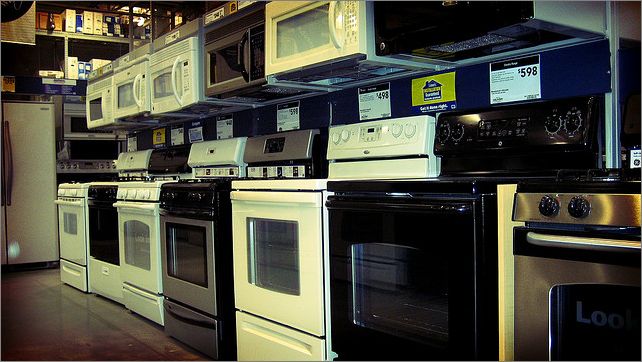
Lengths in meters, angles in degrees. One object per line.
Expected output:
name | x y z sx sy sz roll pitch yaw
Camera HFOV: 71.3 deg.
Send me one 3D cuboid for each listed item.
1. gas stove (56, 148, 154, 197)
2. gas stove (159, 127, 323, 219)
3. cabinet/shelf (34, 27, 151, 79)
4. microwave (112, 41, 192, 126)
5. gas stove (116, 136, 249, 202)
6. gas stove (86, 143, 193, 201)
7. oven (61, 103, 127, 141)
gas stove | -2.746 -0.187 6.055 1.527 0.399 0.414 0 -3 18
gas stove | -0.710 0.049 3.891 1.369 0.730 0.676 0 16 16
cabinet/shelf | -4.172 -2.271 7.912 2.937 0.840 0.869 3 7 44
microwave | -1.764 -1.001 4.697 0.429 0.503 1.141 2 -4 -39
gas stove | -1.610 -0.203 5.025 2.117 0.356 0.257 -2 24 32
gas stove | -2.127 -0.062 5.338 1.637 0.497 0.464 0 22 39
oven | -3.634 -0.881 7.097 1.144 0.599 0.542 1 -6 -29
